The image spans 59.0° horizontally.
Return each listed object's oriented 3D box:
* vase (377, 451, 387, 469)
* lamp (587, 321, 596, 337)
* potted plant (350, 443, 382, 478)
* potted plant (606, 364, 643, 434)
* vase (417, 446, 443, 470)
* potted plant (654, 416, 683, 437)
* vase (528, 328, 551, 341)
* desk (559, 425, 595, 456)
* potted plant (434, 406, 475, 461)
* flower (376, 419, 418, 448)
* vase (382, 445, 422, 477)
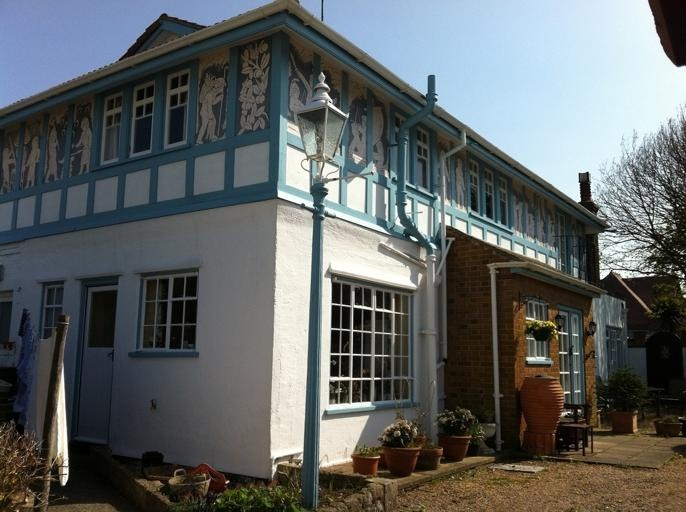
[{"bbox_3d":[0.662,3.520,10.477,0.277,0.251,0.304,0,-11,1],"label":"vase"},{"bbox_3d":[7.333,2.152,17.876,0.242,0.475,0.478,-10,-18,29],"label":"lamp"},{"bbox_3d":[0.358,3.272,9.650,0.401,0.352,0.440,1,-14,4],"label":"potted plant"},{"bbox_3d":[7.709,3.964,16.489,0.942,1.727,0.792,-5,-15,12],"label":"potted plant"},{"bbox_3d":[1.492,3.532,10.475,0.366,0.294,0.406,-1,-19,4],"label":"vase"},{"bbox_3d":[8.576,4.533,15.928,0.639,0.386,0.835,-1,-6,25],"label":"potted plant"},{"bbox_3d":[4.362,1.768,13.386,0.334,0.270,0.307,0,-10,5],"label":"vase"},{"bbox_3d":[5.004,3.951,13.041,0.599,0.660,0.739,-3,-10,22],"label":"desk"},{"bbox_3d":[2.081,3.446,11.652,0.878,1.062,0.785,6,-19,-9],"label":"potted plant"},{"bbox_3d":[0.962,2.967,10.137,0.396,0.487,0.531,-5,-13,23],"label":"flower"},{"bbox_3d":[0.941,3.356,9.882,0.444,0.354,0.495,0,-27,1],"label":"vase"}]
